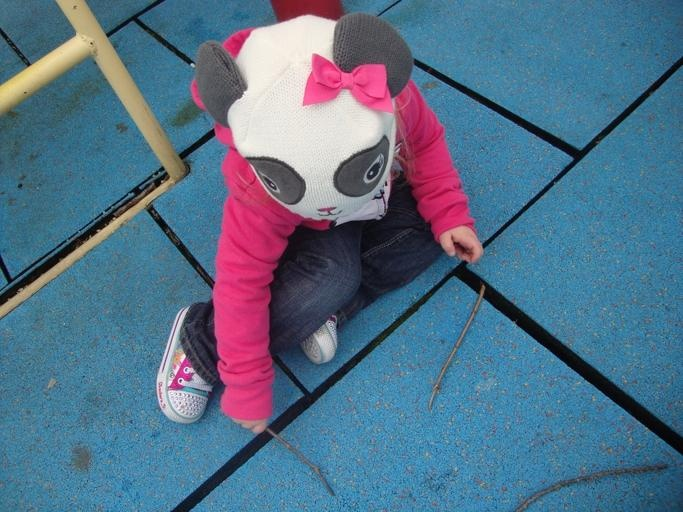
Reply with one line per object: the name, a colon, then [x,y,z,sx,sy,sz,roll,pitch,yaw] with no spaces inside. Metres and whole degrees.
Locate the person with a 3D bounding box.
person: [-0.050,-0.010,1.488,0.718,0.871,0.854,-16,71,-5]

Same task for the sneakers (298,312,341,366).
sneakers: [-0.065,0.233,1.657,0.104,0.079,0.209,4,26,1]

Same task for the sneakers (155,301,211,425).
sneakers: [-0.444,0.312,1.632,0.165,0.157,0.338,-44,40,45]
